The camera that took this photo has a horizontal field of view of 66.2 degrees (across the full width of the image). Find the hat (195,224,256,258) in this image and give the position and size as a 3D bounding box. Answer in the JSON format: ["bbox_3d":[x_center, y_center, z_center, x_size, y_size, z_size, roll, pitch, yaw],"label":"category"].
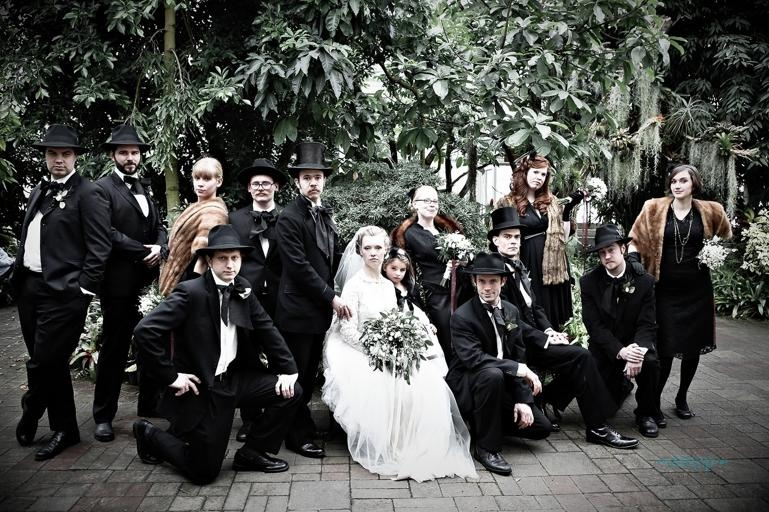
[{"bbox_3d":[-1.453,-0.102,5.278,0.362,0.151,0.393,0,-10,-14],"label":"hat"}]

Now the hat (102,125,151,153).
[{"bbox_3d":[-2.678,-1.120,5.864,0.493,0.179,0.441,-5,-3,37],"label":"hat"}]

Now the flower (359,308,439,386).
[{"bbox_3d":[0.092,0.859,5.785,0.719,0.790,0.771,-4,8,11],"label":"flower"}]

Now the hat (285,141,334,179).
[{"bbox_3d":[-0.752,-0.935,5.893,0.384,0.210,0.391,0,2,-7],"label":"hat"}]

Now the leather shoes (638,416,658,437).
[{"bbox_3d":[2.683,1.736,6.000,0.107,0.107,0.280,-3,0,3],"label":"leather shoes"}]

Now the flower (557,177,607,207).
[{"bbox_3d":[2.312,-0.723,6.736,0.577,0.267,0.360,-25,-3,13],"label":"flower"}]

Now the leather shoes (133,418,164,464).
[{"bbox_3d":[-2.138,1.657,5.341,0.219,0.439,0.189,-8,15,-42],"label":"leather shoes"}]

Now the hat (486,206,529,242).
[{"bbox_3d":[1.278,-0.324,6.240,0.347,0.181,0.360,-8,-8,-39],"label":"hat"}]

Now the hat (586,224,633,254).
[{"bbox_3d":[2.388,-0.216,6.298,0.358,0.172,0.415,-20,0,29],"label":"hat"}]

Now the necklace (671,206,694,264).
[{"bbox_3d":[3.246,-0.172,6.465,0.186,0.499,0.176,6,12,22],"label":"necklace"}]

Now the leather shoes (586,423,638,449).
[{"bbox_3d":[2.201,1.752,5.841,0.555,0.236,0.185,0,4,18],"label":"leather shoes"}]

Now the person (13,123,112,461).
[{"bbox_3d":[-3.061,0.392,5.547,0.901,2.753,0.744,-8,14,-39],"label":"person"}]

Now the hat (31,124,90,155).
[{"bbox_3d":[-2.983,-1.111,5.573,0.322,0.144,0.391,0,5,12],"label":"hat"}]
